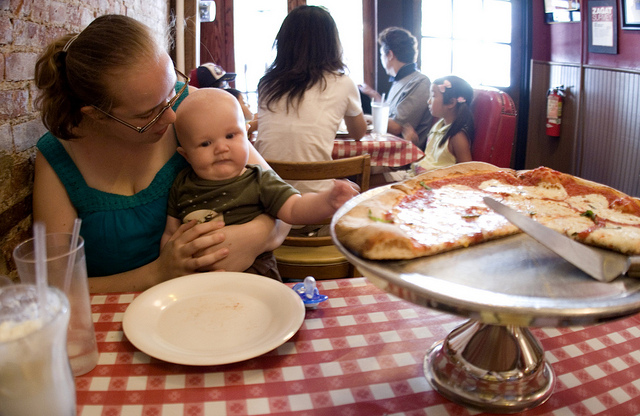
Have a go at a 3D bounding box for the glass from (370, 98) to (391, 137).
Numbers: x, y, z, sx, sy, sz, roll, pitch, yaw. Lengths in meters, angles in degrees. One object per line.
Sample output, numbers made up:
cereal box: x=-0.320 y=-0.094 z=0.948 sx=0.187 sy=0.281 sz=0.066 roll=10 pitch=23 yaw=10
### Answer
glass: x=0.405 y=-0.596 z=2.985 sx=0.113 sy=0.209 sz=0.298 roll=3 pitch=18 yaw=6

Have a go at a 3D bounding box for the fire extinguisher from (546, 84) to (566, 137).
fire extinguisher: x=2.113 y=-0.870 z=4.016 sx=0.111 sy=0.459 sz=0.181 roll=-6 pitch=20 yaw=-16

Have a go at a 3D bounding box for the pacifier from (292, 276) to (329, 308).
pacifier: x=-0.029 y=0.218 z=1.146 sx=0.088 sy=0.057 sz=0.088 roll=5 pitch=-6 yaw=-7

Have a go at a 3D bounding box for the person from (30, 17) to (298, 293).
person: x=-0.568 y=0.000 z=1.447 sx=0.747 sy=0.949 sz=0.560 roll=-10 pitch=16 yaw=-33

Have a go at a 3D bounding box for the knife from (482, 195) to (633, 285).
knife: x=0.468 y=0.068 z=0.985 sx=0.121 sy=0.035 sz=0.364 roll=-23 pitch=37 yaw=-30
